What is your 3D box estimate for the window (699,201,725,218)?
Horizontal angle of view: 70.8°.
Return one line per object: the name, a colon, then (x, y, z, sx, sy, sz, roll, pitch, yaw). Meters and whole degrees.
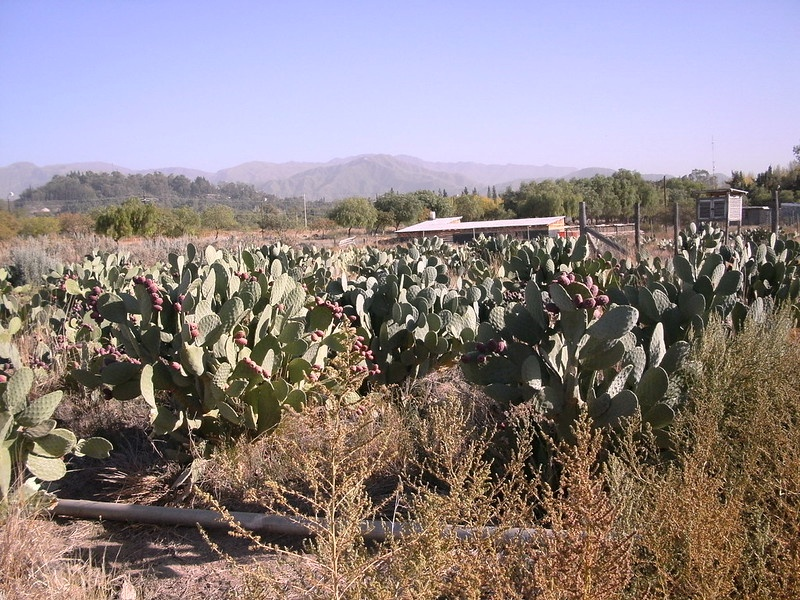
window: (9.375, -2.685, 16.919, 0.432, 0.569, 0.729, -1, 3, -5)
